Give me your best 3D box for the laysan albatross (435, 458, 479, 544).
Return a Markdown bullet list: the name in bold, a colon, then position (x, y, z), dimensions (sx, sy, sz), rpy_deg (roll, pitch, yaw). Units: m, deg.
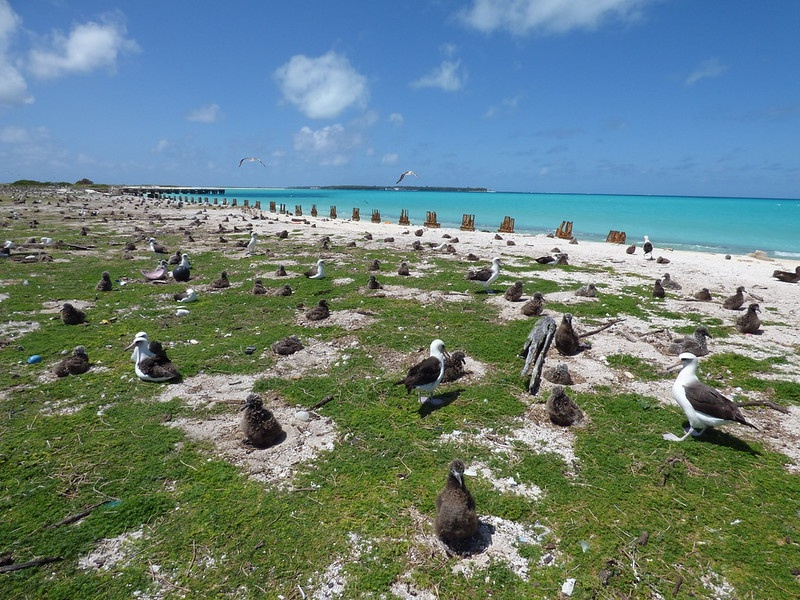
- **laysan albatross**: position (1.115, 3.988, 9.002), dimensions (0.891, 1.678, 0.543), rpy_deg (0, 15, 7)
